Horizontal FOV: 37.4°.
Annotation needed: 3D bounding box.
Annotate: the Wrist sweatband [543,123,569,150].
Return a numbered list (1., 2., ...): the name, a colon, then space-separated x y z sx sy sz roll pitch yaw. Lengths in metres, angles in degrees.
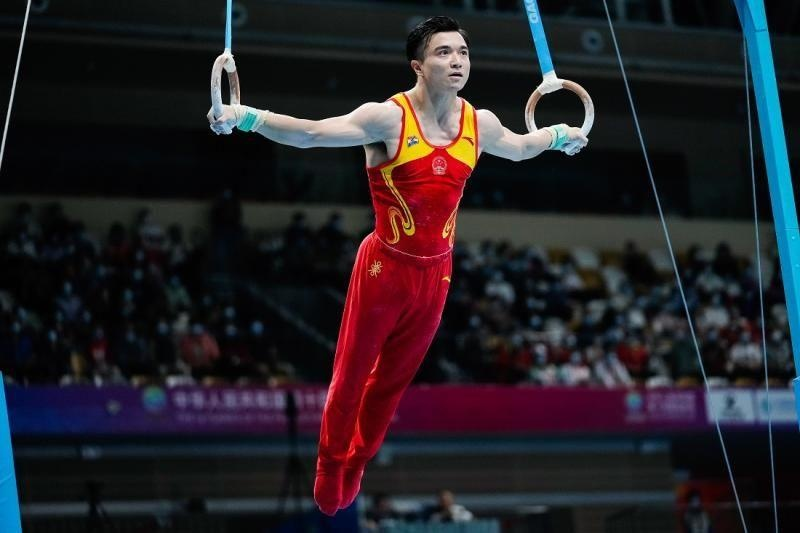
1. Wrist sweatband: 1.424 -1.168 10.768 0.157 0.217 0.162 10 11 26

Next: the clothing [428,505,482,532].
1. clothing: 0.577 2.824 13.305 0.449 0.207 0.342 12 -17 4

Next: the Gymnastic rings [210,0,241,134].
1. Gymnastic rings: -1.520 -1.777 10.384 0.238 1.133 0.464 2 -9 -9
